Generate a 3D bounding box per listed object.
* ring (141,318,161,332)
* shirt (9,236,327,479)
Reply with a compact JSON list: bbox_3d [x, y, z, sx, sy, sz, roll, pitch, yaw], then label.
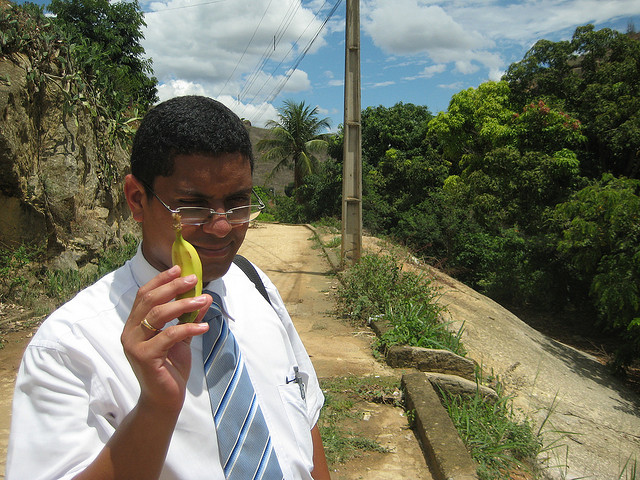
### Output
[{"bbox_3d":[-0.589,0.287,1.603,0.053,0.046,0.018,29,39,-1],"label":"ring"},{"bbox_3d":[-0.612,0.586,2.066,1.244,1.008,0.817,-3,20,-22],"label":"shirt"}]
